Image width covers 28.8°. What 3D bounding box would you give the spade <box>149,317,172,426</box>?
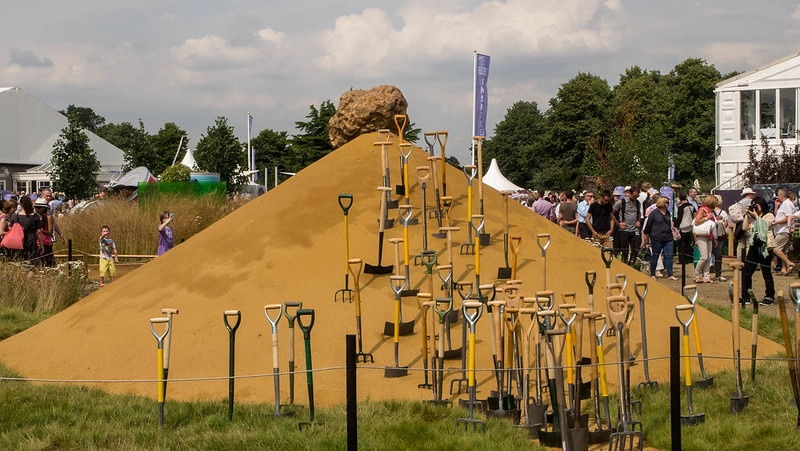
[{"bbox_3d":[-8.417,5.157,55.216,0.659,3.861,1.255,0,-3,-8],"label":"spade"}]

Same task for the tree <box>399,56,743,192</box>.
[{"bbox_3d":[10.734,-5.859,93.793,15.604,5.320,11.896,-1,1,23],"label":"tree"}]

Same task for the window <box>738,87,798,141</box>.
[{"bbox_3d":[19.167,-5.784,80.293,2.863,2.807,0.197,1,-3,12],"label":"window"}]

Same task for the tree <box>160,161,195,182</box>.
[{"bbox_3d":[-11.685,-2.906,81.854,1.520,1.022,2.197,0,-3,-9],"label":"tree"}]

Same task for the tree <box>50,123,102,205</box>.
[{"bbox_3d":[-16.762,-3.525,80.821,2.400,4.237,2.258,0,-3,-12],"label":"tree"}]

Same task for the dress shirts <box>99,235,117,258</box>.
[{"bbox_3d":[-11.914,0.725,63.912,0.614,1.245,0.795,-2,-3,18],"label":"dress shirts"}]

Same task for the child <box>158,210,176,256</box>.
[{"bbox_3d":[-9.565,0.245,63.887,0.551,1.694,0.806,0,-3,-13],"label":"child"}]

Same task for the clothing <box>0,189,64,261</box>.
[{"bbox_3d":[-14.752,0.037,62.537,2.660,5.057,1.567,-1,17,-15],"label":"clothing"}]

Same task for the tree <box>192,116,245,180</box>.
[{"bbox_3d":[-9.483,-4.941,88.246,2.716,3.650,2.734,-17,15,-13],"label":"tree"}]
